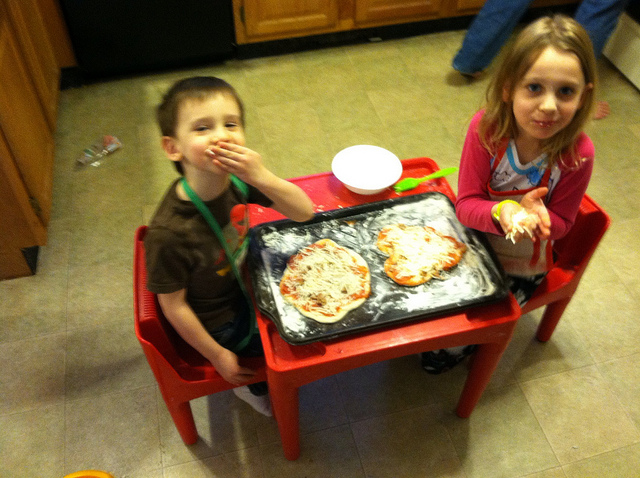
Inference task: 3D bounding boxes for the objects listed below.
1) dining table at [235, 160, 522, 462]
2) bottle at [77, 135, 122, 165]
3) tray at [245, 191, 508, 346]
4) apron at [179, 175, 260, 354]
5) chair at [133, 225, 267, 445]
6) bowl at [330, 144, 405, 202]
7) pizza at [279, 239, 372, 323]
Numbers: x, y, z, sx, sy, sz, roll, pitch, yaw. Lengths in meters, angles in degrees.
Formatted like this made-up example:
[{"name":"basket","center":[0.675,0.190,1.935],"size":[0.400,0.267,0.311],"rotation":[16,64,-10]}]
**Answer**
[{"name":"dining table","center":[0.056,0.209,2.020],"size":[0.944,0.844,0.938],"rotation":[-9,54,-10]},{"name":"bottle","center":[-1.266,-0.508,2.873],"size":[0.243,0.055,0.122],"rotation":[-30,61,-20]},{"name":"tray","center":[0.172,0.084,1.526],"size":[0.654,0.086,0.438],"rotation":[-10,53,-10]},{"name":"apron","center":[-0.274,0.072,1.572],"size":[0.293,0.519,0.083],"rotation":[-16,6,-11]},{"name":"chair","center":[-0.380,0.308,1.600],"size":[0.408,0.627,0.452],"rotation":[-17,53,-15]},{"name":"bowl","center":[0.189,-0.275,1.955],"size":[0.258,0.076,0.258],"rotation":[0,47,0]},{"name":"pizza","center":[0.020,0.133,1.505],"size":[0.271,0.017,0.273],"rotation":[10,48,8]}]
